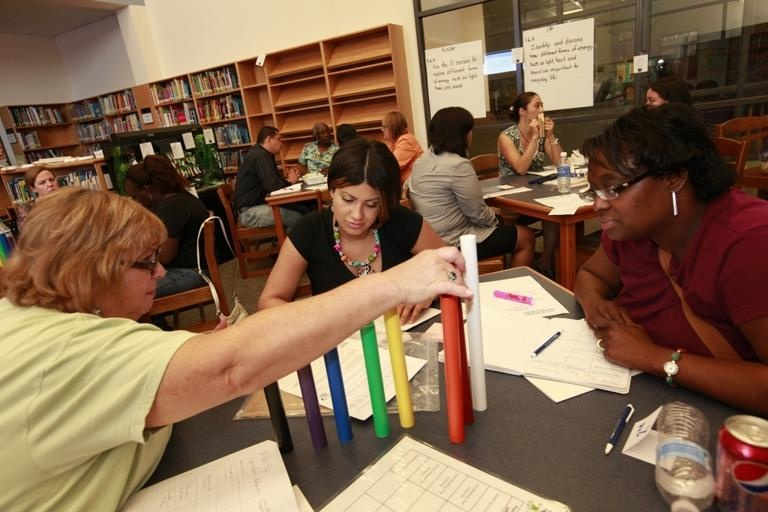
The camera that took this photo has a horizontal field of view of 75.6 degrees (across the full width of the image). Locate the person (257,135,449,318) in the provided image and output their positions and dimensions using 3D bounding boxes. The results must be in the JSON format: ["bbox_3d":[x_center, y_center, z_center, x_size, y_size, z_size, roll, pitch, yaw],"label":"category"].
[{"bbox_3d":[-0.100,-0.055,2.173,1.000,0.784,0.518,-11,23,-26],"label":"person"}]

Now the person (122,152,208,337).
[{"bbox_3d":[-1.643,-0.064,3.659,0.743,1.274,0.587,-1,14,-21],"label":"person"}]

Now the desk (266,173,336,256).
[{"bbox_3d":[-0.729,-0.356,4.507,0.654,0.612,0.552,-15,23,-38],"label":"desk"}]

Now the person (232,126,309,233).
[{"bbox_3d":[-1.134,-0.611,5.181,0.828,1.426,0.603,-7,11,-19],"label":"person"}]

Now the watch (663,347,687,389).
[{"bbox_3d":[0.820,0.317,1.416,0.030,0.083,0.071,7,2,-17],"label":"watch"}]

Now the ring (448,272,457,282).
[{"bbox_3d":[0.184,0.055,1.330,0.016,0.027,0.009,6,-11,-15],"label":"ring"}]

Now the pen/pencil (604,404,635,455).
[{"bbox_3d":[0.622,0.461,1.312,0.140,0.023,0.015,-41,-4,-36],"label":"pen/pencil"}]

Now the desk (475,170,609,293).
[{"bbox_3d":[1.072,-0.259,3.318,0.814,0.768,0.802,-17,23,-38],"label":"desk"}]

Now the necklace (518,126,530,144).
[{"bbox_3d":[1.133,-0.983,4.021,0.121,0.155,0.085,-16,18,-31],"label":"necklace"}]
